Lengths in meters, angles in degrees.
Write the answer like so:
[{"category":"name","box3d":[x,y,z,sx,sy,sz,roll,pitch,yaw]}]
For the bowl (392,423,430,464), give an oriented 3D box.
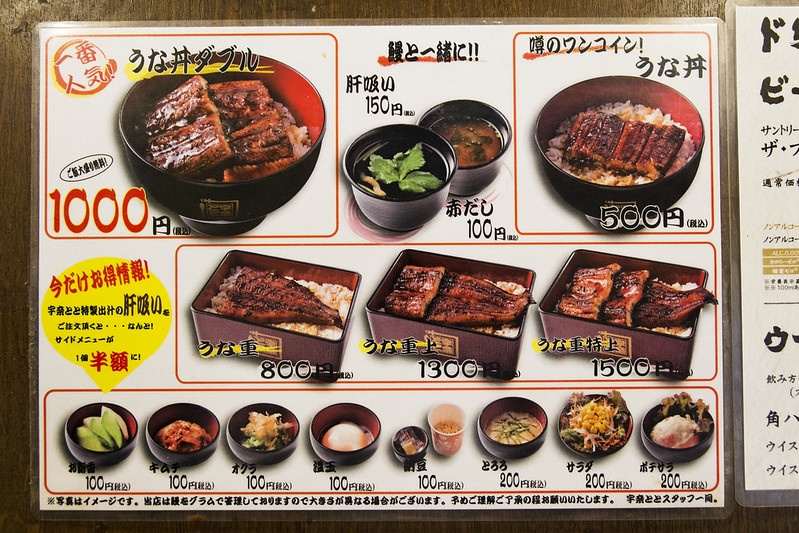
[{"category":"bowl","box3d":[0.048,0.775,2.952,0.142,0.072,0.156,0,62,0]}]
